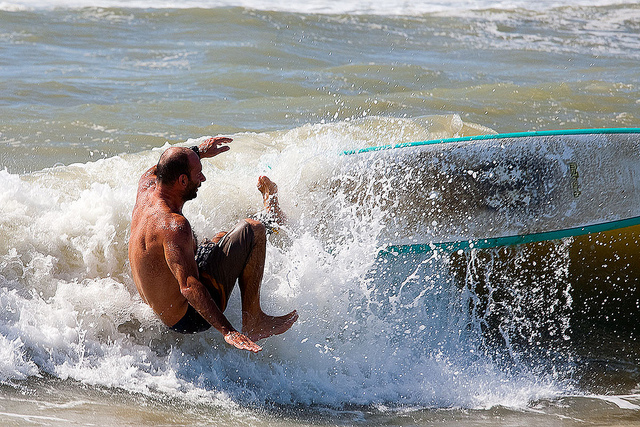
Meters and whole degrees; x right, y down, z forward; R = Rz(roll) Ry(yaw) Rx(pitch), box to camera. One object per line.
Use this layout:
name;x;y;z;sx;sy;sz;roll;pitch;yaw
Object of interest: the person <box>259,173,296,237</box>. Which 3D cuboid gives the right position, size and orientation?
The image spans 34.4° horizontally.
person;-0.444;-0.085;10.546;0.242;0.767;0.209;-33;-17;10
